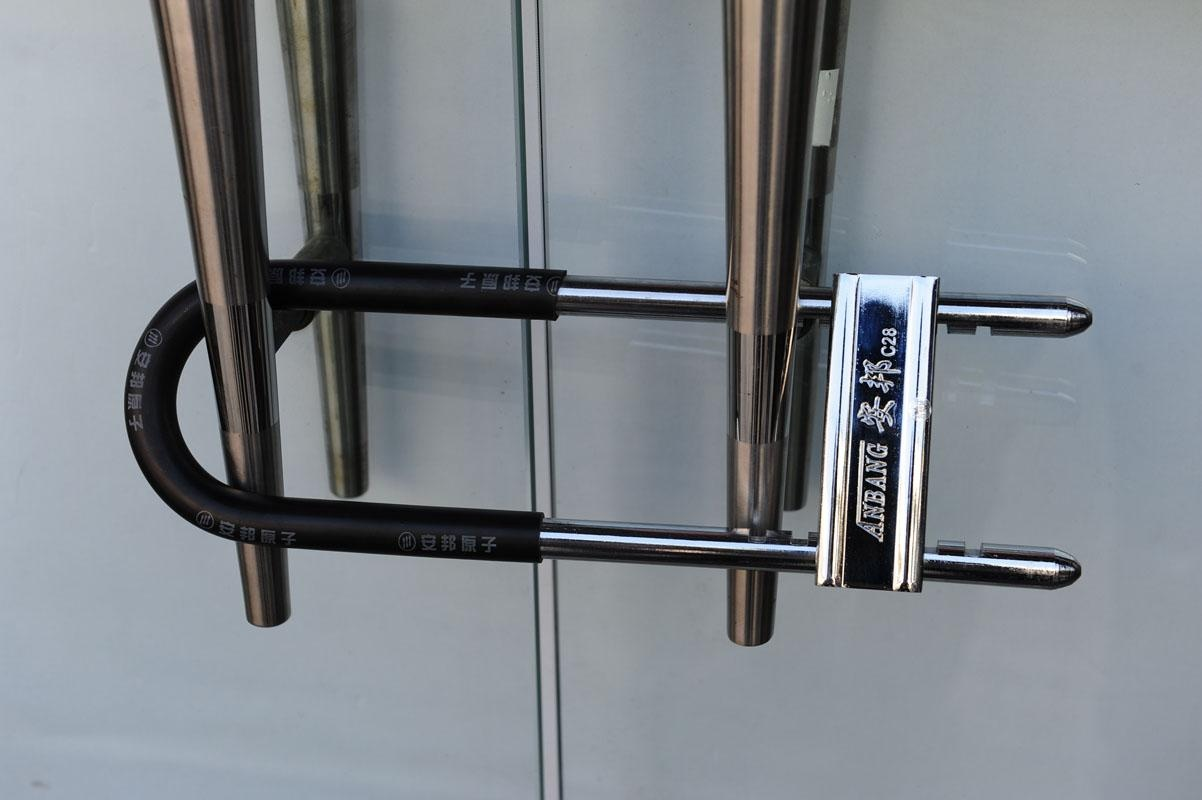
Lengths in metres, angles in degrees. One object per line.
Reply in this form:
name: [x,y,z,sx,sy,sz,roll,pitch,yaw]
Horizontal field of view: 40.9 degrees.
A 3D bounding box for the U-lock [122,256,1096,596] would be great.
U-lock: [-0.006,0.016,0.865,0.498,0.040,0.194,2,63,-1]
